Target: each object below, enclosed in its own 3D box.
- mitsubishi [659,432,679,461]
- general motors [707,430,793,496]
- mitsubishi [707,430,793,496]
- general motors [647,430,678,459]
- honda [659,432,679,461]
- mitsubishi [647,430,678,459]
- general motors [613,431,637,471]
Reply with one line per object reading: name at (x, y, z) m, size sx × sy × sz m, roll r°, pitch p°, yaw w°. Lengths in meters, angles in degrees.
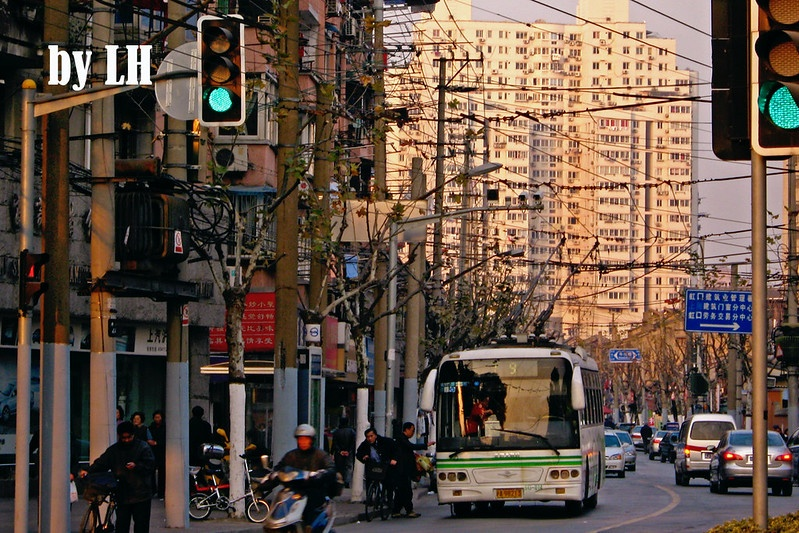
mitsubishi at (12.098, 8.224, 88.733) m, size 1.212 × 1.134 × 2.693 m, roll 0°, pitch 0°, yaw 7°
general motors at (10.346, 5.899, 58.462) m, size 2.368 × 2.006 × 8.722 m, roll -4°, pitch -8°, yaw 9°
mitsubishi at (10.343, 5.899, 58.463) m, size 2.363 × 2.006 × 8.722 m, roll -4°, pitch -8°, yaw 9°
general motors at (12.279, 8.407, 92.326) m, size 1.282 × 1.052 × 2.925 m, roll -1°, pitch -1°, yaw 9°
honda at (12.149, 8.272, 88.726) m, size 1.212 × 1.134 × 2.693 m, roll 0°, pitch 0°, yaw 7°
mitsubishi at (12.228, 8.387, 91.814) m, size 1.282 × 1.052 × 2.925 m, roll -1°, pitch -1°, yaw 9°
general motors at (8.534, 7.027, 74.659) m, size 0.773 × 0.808 × 1.821 m, roll -1°, pitch -12°, yaw 4°
